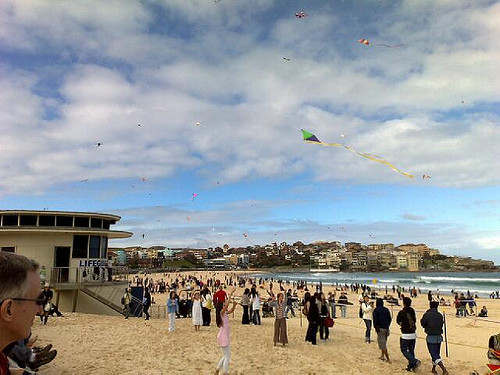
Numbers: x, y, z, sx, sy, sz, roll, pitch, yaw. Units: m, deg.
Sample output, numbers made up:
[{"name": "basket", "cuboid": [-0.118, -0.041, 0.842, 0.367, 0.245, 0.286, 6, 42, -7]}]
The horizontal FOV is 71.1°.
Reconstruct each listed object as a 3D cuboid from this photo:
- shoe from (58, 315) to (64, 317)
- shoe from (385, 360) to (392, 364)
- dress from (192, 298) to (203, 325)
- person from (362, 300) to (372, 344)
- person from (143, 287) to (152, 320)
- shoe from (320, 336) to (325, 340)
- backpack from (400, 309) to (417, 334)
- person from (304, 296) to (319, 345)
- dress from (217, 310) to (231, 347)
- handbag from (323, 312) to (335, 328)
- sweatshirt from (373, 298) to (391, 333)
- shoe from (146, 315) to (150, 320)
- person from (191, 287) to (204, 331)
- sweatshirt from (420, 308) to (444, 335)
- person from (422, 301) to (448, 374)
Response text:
[{"name": "shoe", "cuboid": [-8.331, 5.626, 15.440, 0.259, 0.054, 0.219, 0, -4, 8]}, {"name": "shoe", "cuboid": [4.065, 5.104, 10.292, 0.145, 0.032, 0.100, 4, -2, -3]}, {"name": "dress", "cuboid": [-2.166, 5.114, 14.548, 0.258, 1.049, 0.606, -4, -14, 24]}, {"name": "person", "cuboid": [4.214, 4.794, 12.595, 0.284, 1.485, 0.676, -3, -14, 19]}, {"name": "person", "cuboid": [-5.254, 5.863, 17.923, 0.406, 1.487, 0.841, 5, -13, -14]}, {"name": "shoe", "cuboid": [2.746, 5.648, 13.244, 0.167, 0.106, 0.338, 0, -12, 8]}, {"name": "backpack", "cuboid": [4.198, 3.594, 9.317, 0.387, 0.495, 0.544, -1, -31, 7]}, {"name": "person", "cuboid": [2.182, 4.632, 12.288, 0.493, 1.603, 0.819, 0, -13, 9]}, {"name": "dress", "cuboid": [-0.632, 3.443, 8.620, 0.296, 0.860, 0.224, 7, -14, -22]}, {"name": "handbag", "cuboid": [2.897, 4.923, 13.015, 0.339, 0.608, 0.758, -1, -12, 11]}, {"name": "sweatshirt", "cuboid": [3.981, 3.850, 10.597, 0.506, 0.924, 0.478, -3, -14, 19]}, {"name": "shoe", "cuboid": [-5.135, 6.517, 17.751, 0.192, 0.141, 0.452, 5, -12, -15]}, {"name": "person", "cuboid": [-2.215, 5.196, 14.891, 0.455, 1.437, 1.288, 4, -13, -8]}, {"name": "sweatshirt", "cuboid": [4.744, 3.478, 9.132, 0.511, 0.676, 0.410, -4, -14, 22]}, {"name": "person", "cuboid": [4.797, 3.852, 9.139, 0.487, 1.720, 0.645, -5, -15, 26]}]
